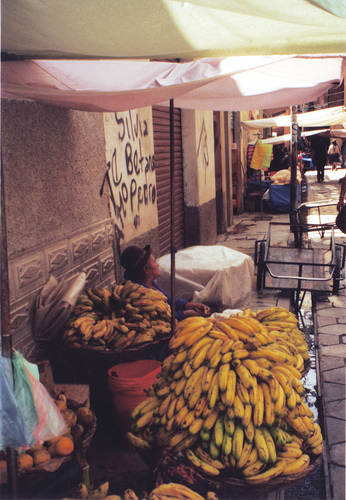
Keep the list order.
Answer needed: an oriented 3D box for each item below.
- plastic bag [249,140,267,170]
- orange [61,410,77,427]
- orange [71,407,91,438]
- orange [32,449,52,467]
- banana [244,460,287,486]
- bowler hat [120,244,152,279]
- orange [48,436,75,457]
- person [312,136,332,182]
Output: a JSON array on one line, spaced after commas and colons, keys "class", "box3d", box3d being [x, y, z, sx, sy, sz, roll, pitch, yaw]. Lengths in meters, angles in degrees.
[{"class": "plastic bag", "box3d": [2.312, -2.578, 10.566, 0.409, 0.745, 0.612, 2, 12, 13]}, {"class": "orange", "box3d": [-0.493, 0.795, 1.834, 0.036, 0.069, 0.050, -30, -21, 9]}, {"class": "orange", "box3d": [-0.438, 0.810, 1.815, 0.052, 0.040, 0.107, 17, 42, -8]}, {"class": "orange", "box3d": [-0.540, 0.849, 1.582, 0.042, 0.046, 0.044, 4, 12, 2]}, {"class": "banana", "box3d": [0.331, 0.816, 1.413, 0.134, 0.039, 0.045, -23, 57, -19]}, {"class": "bowler hat", "box3d": [-0.288, 0.082, 3.190, 0.227, 0.267, 0.266, 4, 13, 9]}, {"class": "orange", "box3d": [-0.473, 0.834, 1.639, 0.120, 0.054, 0.065, 4, 13, 21]}, {"class": "person", "box3d": [8.688, -5.240, 22.235, 1.194, 3.733, 1.147, 0, 13, 7]}]
